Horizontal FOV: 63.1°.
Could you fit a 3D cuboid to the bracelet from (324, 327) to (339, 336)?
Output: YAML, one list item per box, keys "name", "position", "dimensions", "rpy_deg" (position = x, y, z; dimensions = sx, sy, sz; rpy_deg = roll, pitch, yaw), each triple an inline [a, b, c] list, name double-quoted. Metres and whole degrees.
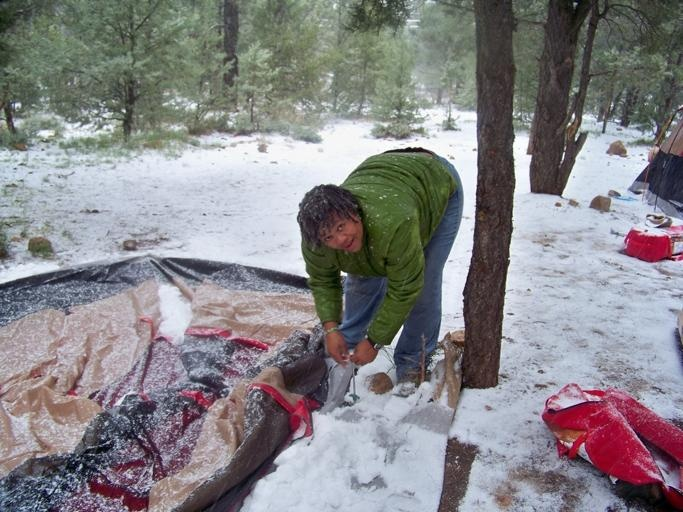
- name: "bracelet"
  position: [-0.081, 0.600, 4.392]
  dimensions: [0.066, 0.020, 0.071]
  rpy_deg: [-31, -11, 23]

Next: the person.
- name: "person"
  position: [0.328, 0.215, 4.393]
  dimensions: [1.436, 1.980, 0.793]
  rpy_deg: [-12, 23, -41]
